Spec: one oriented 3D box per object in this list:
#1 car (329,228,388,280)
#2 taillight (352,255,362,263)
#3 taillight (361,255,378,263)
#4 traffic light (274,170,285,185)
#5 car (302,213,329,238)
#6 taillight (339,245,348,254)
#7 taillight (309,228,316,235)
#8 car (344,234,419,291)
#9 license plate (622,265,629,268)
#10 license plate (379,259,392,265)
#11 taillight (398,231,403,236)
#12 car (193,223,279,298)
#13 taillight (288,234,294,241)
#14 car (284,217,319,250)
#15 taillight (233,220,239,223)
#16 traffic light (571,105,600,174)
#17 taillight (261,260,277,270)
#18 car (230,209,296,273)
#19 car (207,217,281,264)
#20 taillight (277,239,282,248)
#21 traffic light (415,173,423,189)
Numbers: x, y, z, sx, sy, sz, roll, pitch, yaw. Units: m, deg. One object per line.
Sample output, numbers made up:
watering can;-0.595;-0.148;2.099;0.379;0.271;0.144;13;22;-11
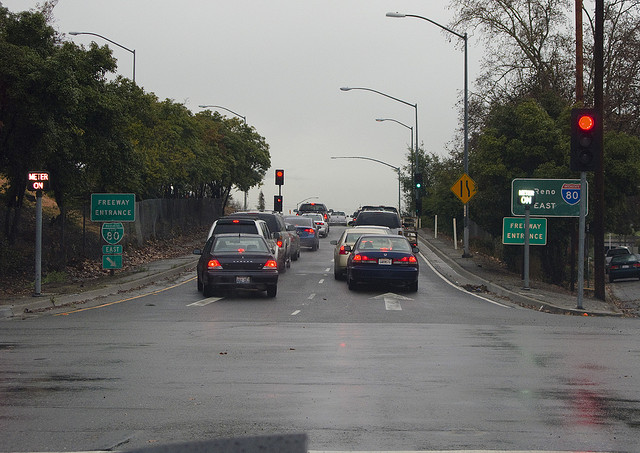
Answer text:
car;1.396;0.975;26.280;1.421;0.966;2.790;-1;8;2
taillight;1.191;1.037;24.325;0.326;0.241;0.070;1;2;41
taillight;1.575;1.036;24.236;0.520;0.240;0.055;0;2;1
traffic light;-2.857;-3.428;52.718;0.578;0.967;0.358;-1;2;-22
car;-0.363;-0.044;50.379;1.475;1.266;3.414;0;5;5
taillight;0.839;0.845;27.596;0.226;0.306;0.306;2;2;1
taillight;-0.491;0.290;44.285;0.287;0.243;0.498;0;-5;-1
car;2.062;1.260;24.831;2.280;1.866;1.377;0;2;3
license plate;18.413;2.399;45.531;0.355;0.158;0.096;0;2;4
license plate;2.085;1.126;24.218;0.385;0.184;0.019;-1;2;-5
taillight;3.584;0.283;33.761;0.213;0.241;0.126;1;5;3
car;-2.559;1.108;23.478;1.780;1.313;3.120;0;6;-5
taillight;-1.403;0.556;36.556;0.204;0.298;0.260;7;16;11
car;-1.057;0.379;40.873;1.602;1.290;3.727;0;3;4
taillight;-2.877;-0.180;25.727;0.206;0.089;0.061;-1;2;-25
traffic light;7.283;-2.393;20.783;0.716;1.748;0.348;0;2;15
taillight;-1.501;1.140;22.444;0.476;0.293;0.123;-2;3;-45
car;-2.136;0.646;31.699;2.069;1.890;4.061;1;4;8
car;-2.594;0.461;26.696;1.380;1.330;2.437;0;5;6
taillight;-1.620;0.643;29.757;0.161;0.249;0.090;1;-2;-31
traffic light;7.237;-3.355;55.931;0.430;1.102;0.533;0;2;-3
